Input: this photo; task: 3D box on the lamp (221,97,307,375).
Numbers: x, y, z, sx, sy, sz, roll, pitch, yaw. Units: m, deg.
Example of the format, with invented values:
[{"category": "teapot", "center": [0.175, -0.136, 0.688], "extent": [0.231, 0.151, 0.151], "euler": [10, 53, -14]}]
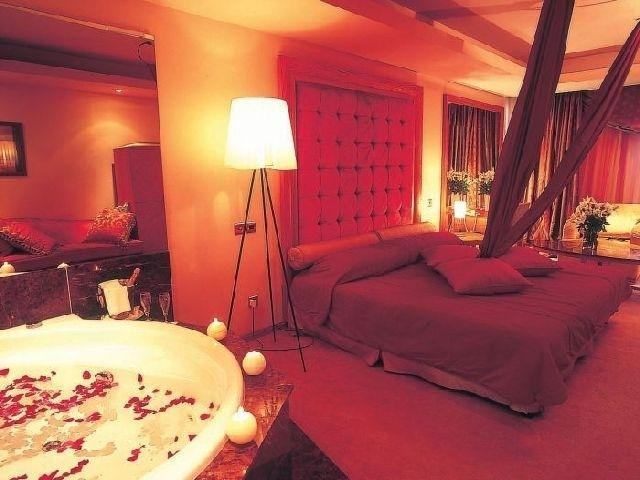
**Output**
[{"category": "lamp", "center": [-0.511, -0.243, 3.697], "extent": [0.575, 1.953, 0.531], "euler": [16, 35, 15]}]

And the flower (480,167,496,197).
[{"category": "flower", "center": [2.171, -0.762, 5.858], "extent": [0.174, 0.303, 0.419], "euler": [5, 11, 19]}]

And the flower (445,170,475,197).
[{"category": "flower", "center": [1.836, -0.757, 5.877], "extent": [0.346, 0.196, 0.329], "euler": [-8, 15, -34]}]

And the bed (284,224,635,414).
[{"category": "bed", "center": [1.351, 0.572, 3.883], "extent": [2.234, 0.484, 2.207], "euler": [-9, 11, -35]}]

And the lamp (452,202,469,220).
[{"category": "lamp", "center": [1.764, -0.373, 5.463], "extent": [0.200, 0.239, 0.205], "euler": [0, 1, -7]}]

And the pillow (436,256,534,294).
[{"category": "pillow", "center": [1.197, 0.265, 3.399], "extent": [0.370, 0.123, 0.349], "euler": [-6, 19, -8]}]

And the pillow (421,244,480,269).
[{"category": "pillow", "center": [1.126, 0.116, 3.899], "extent": [0.331, 0.100, 0.239], "euler": [-7, 20, -16]}]

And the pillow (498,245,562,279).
[{"category": "pillow", "center": [1.780, 0.177, 3.884], "extent": [0.368, 0.191, 0.562], "euler": [-5, 9, 5]}]
